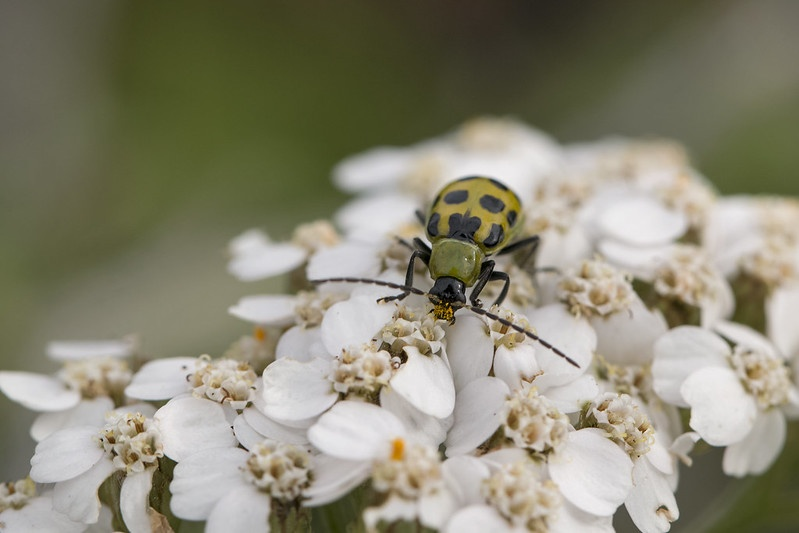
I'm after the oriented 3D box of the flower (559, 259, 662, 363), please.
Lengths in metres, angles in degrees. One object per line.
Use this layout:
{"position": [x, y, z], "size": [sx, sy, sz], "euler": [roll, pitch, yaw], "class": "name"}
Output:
{"position": [0.880, 0.227, 3.743], "size": [0.357, 0.188, 0.435], "euler": [-11, 58, -24], "class": "flower"}
